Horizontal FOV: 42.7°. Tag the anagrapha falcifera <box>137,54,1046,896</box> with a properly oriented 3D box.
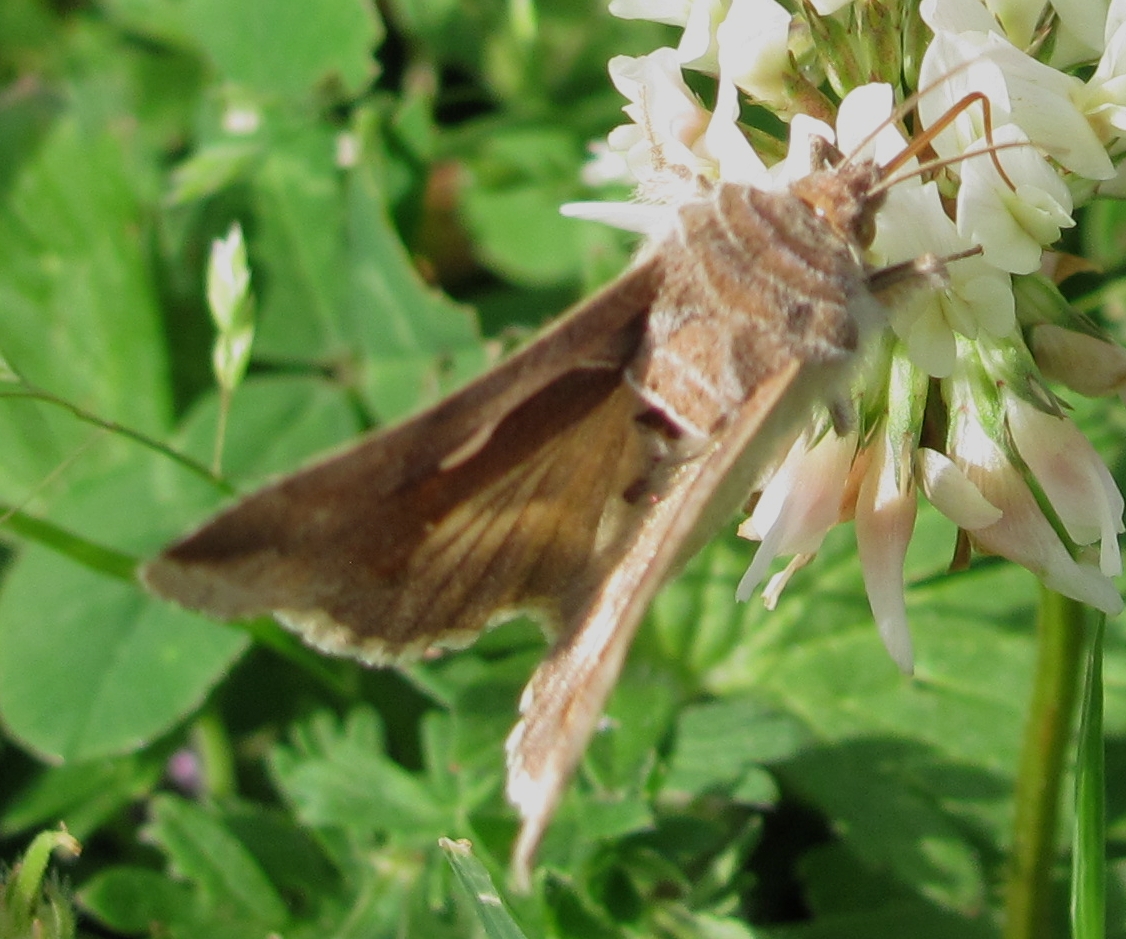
[{"bbox_3d":[-0.004,0.040,0.930,0.665,0.222,0.340,-46,58,29],"label":"anagrapha falcifera"}]
